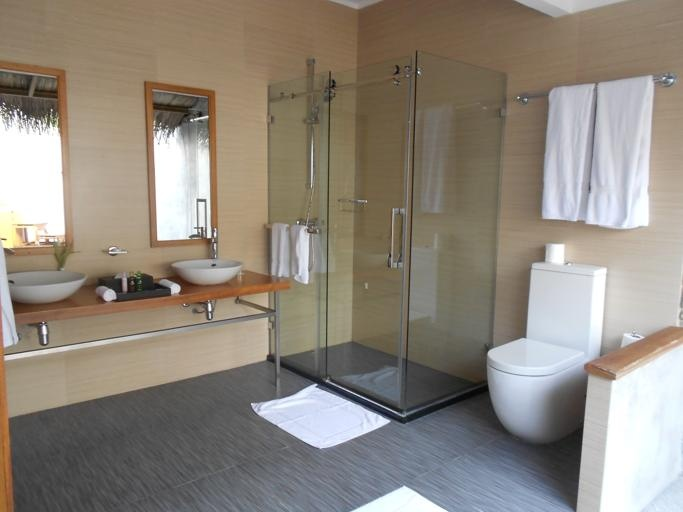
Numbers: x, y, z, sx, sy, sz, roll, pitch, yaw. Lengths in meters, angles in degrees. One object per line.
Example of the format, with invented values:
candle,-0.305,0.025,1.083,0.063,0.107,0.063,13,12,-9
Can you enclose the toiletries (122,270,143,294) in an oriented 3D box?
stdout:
toiletries,-1.452,0.184,3.507,0.135,0.155,0.090,5,11,24

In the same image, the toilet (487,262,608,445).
toilet,1.434,0.674,3.573,0.571,1.152,0.934,5,14,36

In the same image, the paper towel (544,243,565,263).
paper towel,1.608,-0.021,3.819,0.102,0.174,0.135,-8,11,-43

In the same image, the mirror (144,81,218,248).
mirror,-1.283,-0.710,4.119,0.659,1.285,0.018,9,16,19

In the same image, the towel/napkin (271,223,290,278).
towel/napkin,-0.538,-0.051,4.385,0.122,0.460,0.245,-12,14,-34

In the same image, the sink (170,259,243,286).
sink,-1.038,0.116,3.941,0.508,0.153,0.549,-6,10,-16

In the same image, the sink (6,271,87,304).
sink,-1.912,0.192,3.297,0.313,0.098,0.322,5,5,41

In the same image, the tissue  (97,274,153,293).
tissue ,-1.512,0.186,3.544,0.204,0.070,0.231,10,11,41

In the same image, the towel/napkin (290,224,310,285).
towel/napkin,-0.357,-0.019,4.215,0.242,0.477,0.112,8,17,44

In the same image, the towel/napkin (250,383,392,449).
towel/napkin,-0.174,1.178,3.767,0.637,0.094,0.835,-12,13,-43

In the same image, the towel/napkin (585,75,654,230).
towel/napkin,1.908,-0.702,3.483,0.374,0.994,0.214,3,14,29
